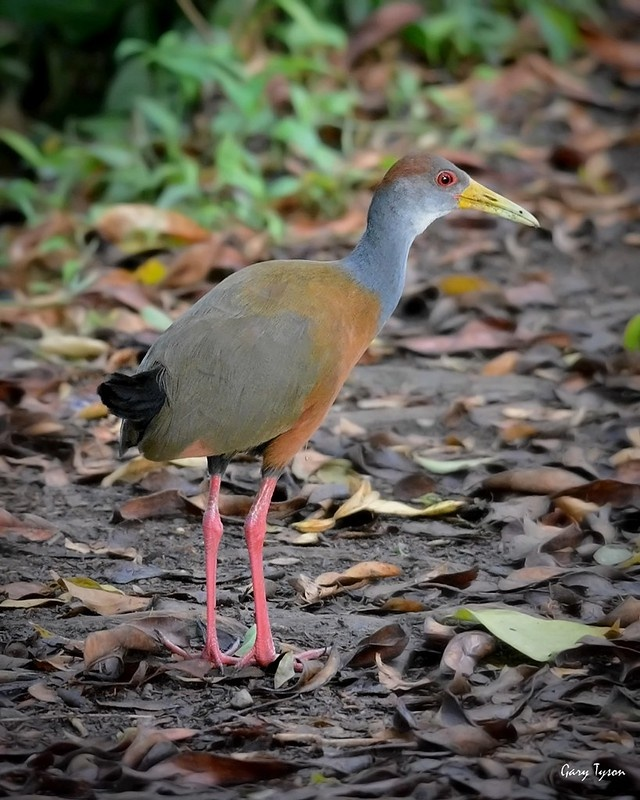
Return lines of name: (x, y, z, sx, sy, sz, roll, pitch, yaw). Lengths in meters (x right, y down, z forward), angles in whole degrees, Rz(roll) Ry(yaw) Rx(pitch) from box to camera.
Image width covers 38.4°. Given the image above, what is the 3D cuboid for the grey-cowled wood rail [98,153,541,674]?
grey-cowled wood rail: (-0.183, -0.084, 2.852, 0.667, 1.498, 1.190, 19, 18, 2)
